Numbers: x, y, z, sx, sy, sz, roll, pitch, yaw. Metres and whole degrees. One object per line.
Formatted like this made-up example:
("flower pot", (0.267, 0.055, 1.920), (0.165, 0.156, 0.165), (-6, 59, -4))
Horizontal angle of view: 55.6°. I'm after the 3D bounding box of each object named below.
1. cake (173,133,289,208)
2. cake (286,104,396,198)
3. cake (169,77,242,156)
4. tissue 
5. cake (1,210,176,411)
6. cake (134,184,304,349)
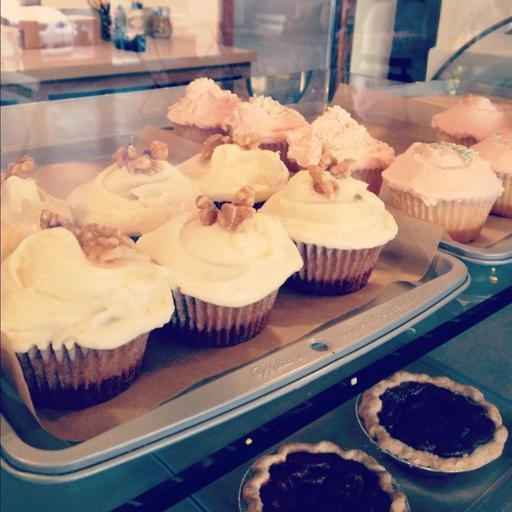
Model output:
("cake", (-0.033, -0.155, 0.828), (0.139, 0.072, 0.155), (9, 24, 10))
("cake", (0.180, -0.212, 1.014), (0.209, 0.180, 0.313), (-8, 27, -11))
("cake", (-0.100, -0.279, 0.939), (0.140, 0.059, 0.143), (18, 50, -6))
("tissue ", (-0.255, -0.287, 0.618), (0.039, 0.049, 0.160), (8, 25, 8))
("cake", (-0.197, 0.060, 0.583), (0.184, 0.210, 0.119), (-8, 29, -23))
("cake", (-0.067, 0.010, 0.775), (0.232, 0.193, 0.237), (-3, 26, -9))
